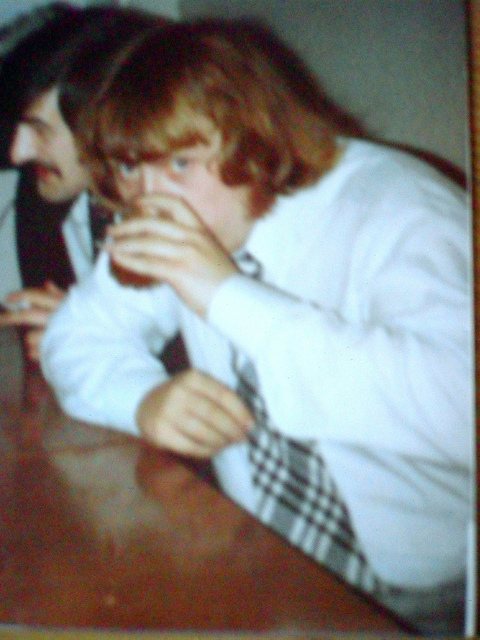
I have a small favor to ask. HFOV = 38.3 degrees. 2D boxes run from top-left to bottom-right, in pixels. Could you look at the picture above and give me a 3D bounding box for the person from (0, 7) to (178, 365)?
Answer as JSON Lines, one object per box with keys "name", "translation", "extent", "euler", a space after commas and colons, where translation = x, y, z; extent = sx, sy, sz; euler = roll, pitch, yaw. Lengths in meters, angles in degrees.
{"name": "person", "translation": [-0.334, -0.349, 1.975], "extent": [0.628, 0.279, 0.799], "euler": [-2, 91, 24]}
